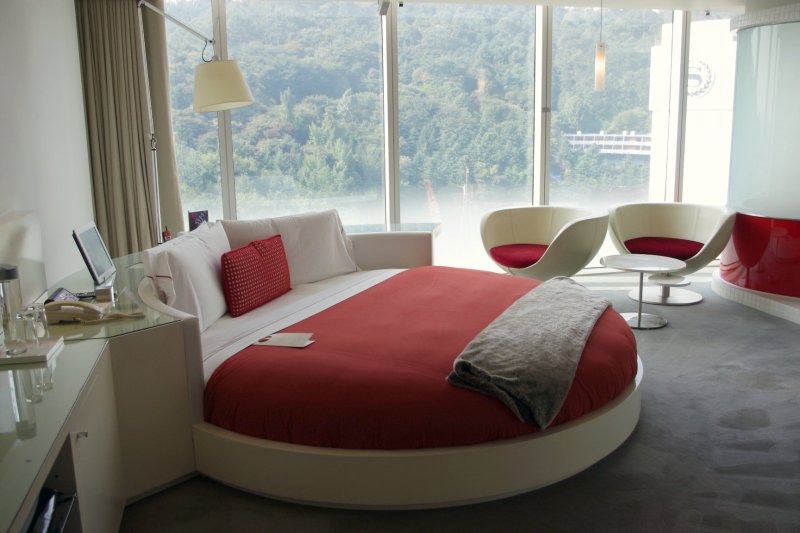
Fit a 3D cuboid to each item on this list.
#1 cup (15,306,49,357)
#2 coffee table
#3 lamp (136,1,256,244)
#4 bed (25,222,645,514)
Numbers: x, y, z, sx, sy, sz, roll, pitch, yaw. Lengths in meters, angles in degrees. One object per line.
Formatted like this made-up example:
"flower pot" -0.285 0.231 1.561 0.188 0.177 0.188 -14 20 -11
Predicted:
"cup" -1.613 0.260 2.466 0.147 0.144 0.086 -21 -22 26
"coffee table" 2.040 0.133 4.733 0.675 0.522 0.684 -7 17 -18
"lamp" -1.662 -1.232 4.404 0.714 2.059 1.806 -7 13 -24
"bed" -0.132 0.554 3.438 3.262 1.052 1.821 -3 11 -6
